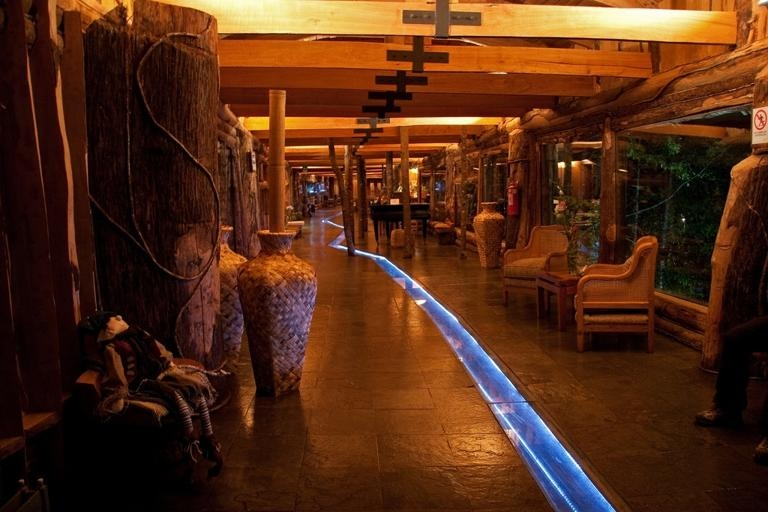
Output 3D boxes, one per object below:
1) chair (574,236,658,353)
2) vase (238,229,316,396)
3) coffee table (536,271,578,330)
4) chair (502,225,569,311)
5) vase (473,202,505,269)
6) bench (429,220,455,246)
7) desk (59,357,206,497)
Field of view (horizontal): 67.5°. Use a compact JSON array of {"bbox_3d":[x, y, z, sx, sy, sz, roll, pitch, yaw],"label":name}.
[{"bbox_3d":[2.570,0.434,6.571,0.978,1.101,1.009,1,-2,27],"label":"chair"},{"bbox_3d":[-0.904,0.503,4.914,0.646,1.423,0.317,-3,10,-14],"label":"vase"},{"bbox_3d":[2.347,0.536,7.325,0.609,0.582,0.931,-5,3,-4],"label":"coffee table"},{"bbox_3d":[2.222,0.115,8.246,1.012,1.106,0.972,-1,5,8],"label":"chair"},{"bbox_3d":[2.258,-0.449,12.280,0.646,1.356,0.463,-1,9,1],"label":"vase"},{"bbox_3d":[1.889,-0.683,17.686,0.669,0.583,0.719,1,9,10],"label":"bench"},{"bbox_3d":[-1.590,1.009,3.766,0.793,0.887,0.928,-16,-14,-10],"label":"desk"}]
